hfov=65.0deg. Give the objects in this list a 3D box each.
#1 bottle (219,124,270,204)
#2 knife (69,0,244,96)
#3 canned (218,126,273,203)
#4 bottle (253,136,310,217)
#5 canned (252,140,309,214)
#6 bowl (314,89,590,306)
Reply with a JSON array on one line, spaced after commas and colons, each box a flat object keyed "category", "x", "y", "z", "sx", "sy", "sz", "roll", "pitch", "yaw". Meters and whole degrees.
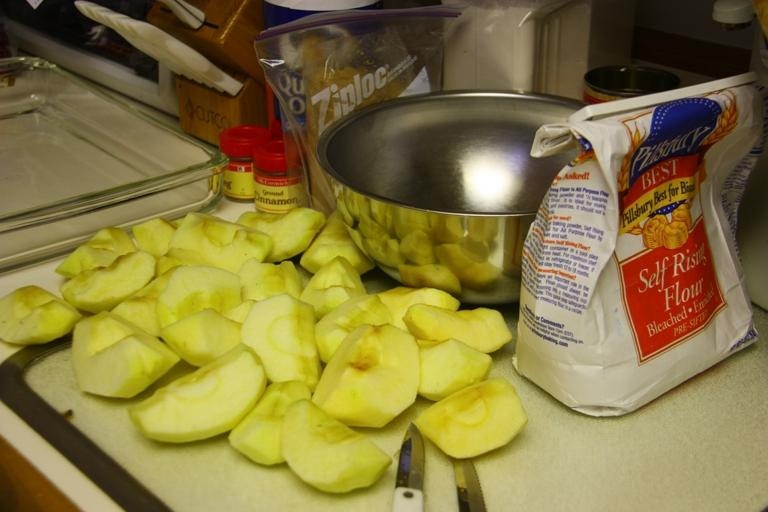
[{"category": "bottle", "x": -0.221, "y": -0.145, "z": 1.007, "sx": 0.078, "sy": 0.088, "sz": 0.081, "roll": 12, "pitch": 22, "yaw": 18}, {"category": "knife", "x": -0.352, "y": -0.334, "z": 0.975, "sx": 0.160, "sy": 0.170, "sz": 0.162, "roll": 21, "pitch": 44, "yaw": 31}, {"category": "canned", "x": -0.237, "y": -0.126, "z": 1.010, "sx": 0.081, "sy": 0.082, "sz": 0.090, "roll": 1, "pitch": 78, "yaw": -4}, {"category": "bottle", "x": -0.166, "y": -0.124, "z": 0.954, "sx": 0.079, "sy": 0.088, "sz": 0.082, "roll": 23, "pitch": 34, "yaw": 33}, {"category": "canned", "x": -0.167, "y": -0.121, "z": 0.956, "sx": 0.102, "sy": 0.090, "sz": 0.101, "roll": -3, "pitch": 23, "yaw": -20}, {"category": "bowl", "x": 0.084, "y": -0.099, "z": 0.770, "sx": 0.312, "sy": 0.142, "sz": 0.306, "roll": -2, "pitch": 35, "yaw": 2}]
